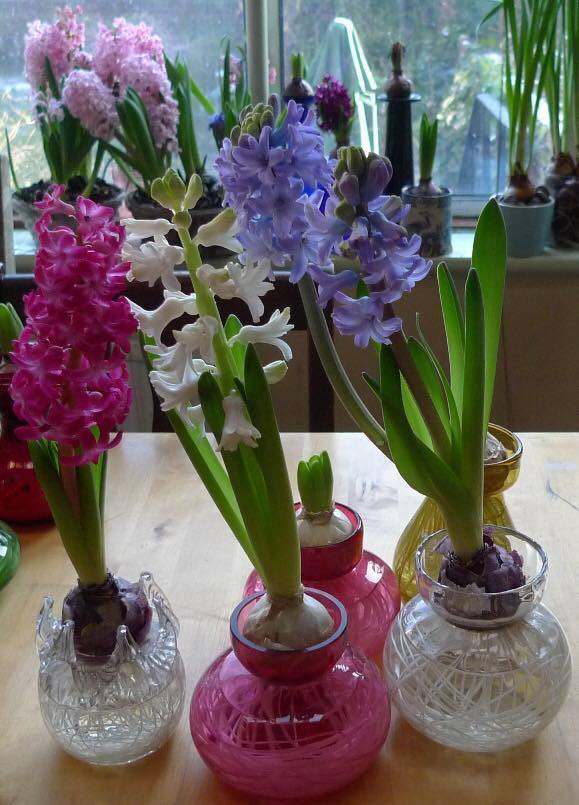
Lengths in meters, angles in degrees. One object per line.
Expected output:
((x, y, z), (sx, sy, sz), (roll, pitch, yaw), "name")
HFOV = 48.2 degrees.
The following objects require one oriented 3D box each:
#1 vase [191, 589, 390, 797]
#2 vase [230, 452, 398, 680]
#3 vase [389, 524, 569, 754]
((0.011, 0.196, 0.452), (0.113, 0.116, 0.125), (5, 31, 11), "vase")
((0.044, 0.122, 0.595), (0.147, 0.238, 0.158), (-3, 19, 2), "vase")
((0.125, 0.170, 0.487), (0.125, 0.151, 0.141), (-5, 22, 4), "vase")
